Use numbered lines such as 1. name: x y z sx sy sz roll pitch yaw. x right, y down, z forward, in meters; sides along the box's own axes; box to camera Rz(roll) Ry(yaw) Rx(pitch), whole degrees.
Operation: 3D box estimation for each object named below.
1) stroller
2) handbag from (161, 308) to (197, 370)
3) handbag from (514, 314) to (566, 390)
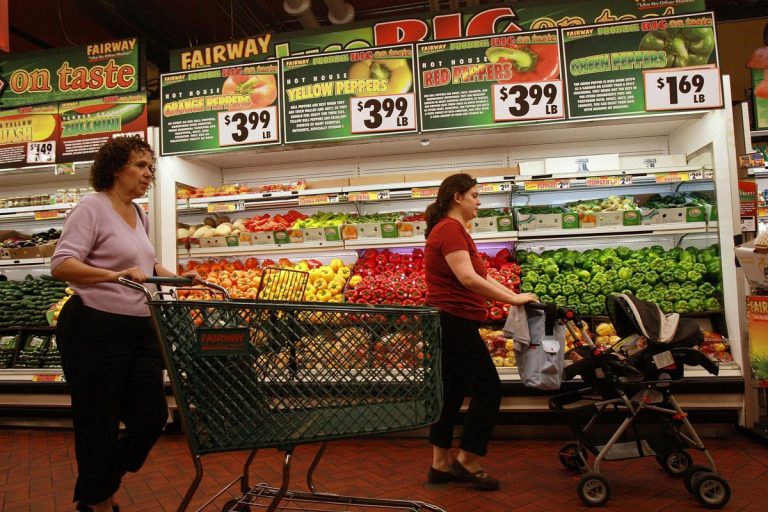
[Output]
1. stroller: 1.937 1.022 4.413 1.289 1.490 1.002 -2 7 8
2. handbag: -1.194 0.468 3.259 0.251 0.319 0.131 -2 8 -16
3. handbag: 1.140 0.699 4.088 0.360 0.627 0.187 -4 7 -2
